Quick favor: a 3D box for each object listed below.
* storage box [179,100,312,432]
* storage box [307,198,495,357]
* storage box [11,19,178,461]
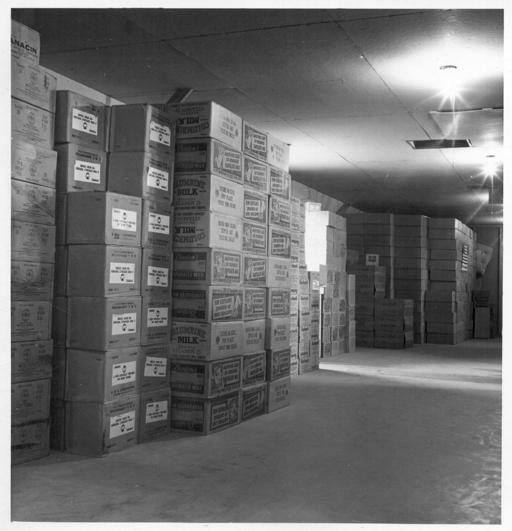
[{"bbox_3d":[-0.164,0.012,3.652,0.348,2.327,1.180,1,-3,33],"label":"storage box"},{"bbox_3d":[2.945,0.245,9.510,5.384,2.724,1.305,5,-3,-36],"label":"storage box"},{"bbox_3d":[-0.959,-0.109,2.853,0.465,1.569,1.050,1,-3,29],"label":"storage box"}]
